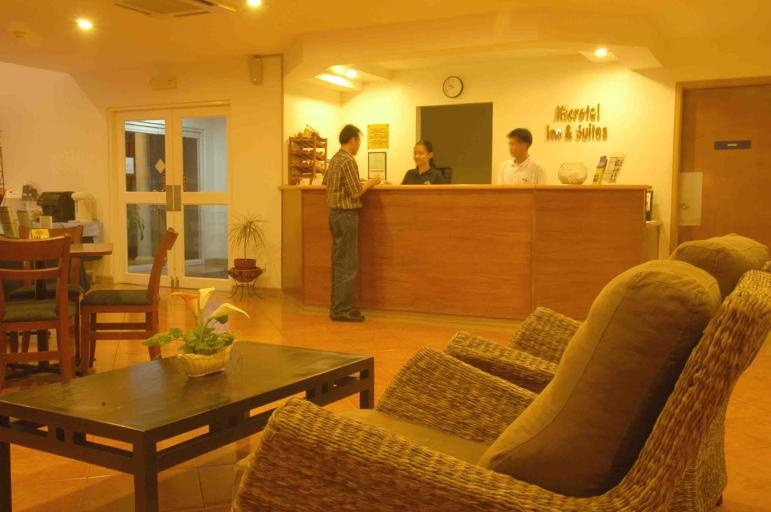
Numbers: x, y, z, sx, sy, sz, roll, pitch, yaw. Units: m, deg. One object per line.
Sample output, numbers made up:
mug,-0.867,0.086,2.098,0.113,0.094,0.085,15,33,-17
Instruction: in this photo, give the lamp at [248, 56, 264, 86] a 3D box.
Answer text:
lamp,-1.856,-2.668,7.949,0.218,0.387,0.080,4,9,17

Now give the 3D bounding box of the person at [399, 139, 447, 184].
person,0.538,-1.214,7.360,0.770,0.650,0.384,12,20,38

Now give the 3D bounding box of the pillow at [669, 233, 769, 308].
pillow,1.231,0.009,2.089,0.309,0.201,0.278,-5,10,-36

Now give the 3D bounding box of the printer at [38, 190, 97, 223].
printer,-5.342,-0.840,9.296,1.189,0.501,0.389,5,9,30

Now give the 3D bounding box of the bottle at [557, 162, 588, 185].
bottle,1.983,-0.862,5.817,0.262,0.249,0.273,-6,10,-42

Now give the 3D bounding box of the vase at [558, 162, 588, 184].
vase,1.970,-0.869,5.826,0.251,0.236,0.259,-4,9,-24

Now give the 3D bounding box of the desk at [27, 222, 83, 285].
desk,-3.094,0.002,5.453,0.372,0.488,0.372,-6,25,26

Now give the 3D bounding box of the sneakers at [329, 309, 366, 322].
sneakers,-0.435,0.684,6.336,0.280,0.090,0.160,-1,1,2

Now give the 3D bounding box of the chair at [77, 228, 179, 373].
chair,-2.156,0.375,4.636,0.818,1.046,0.682,-2,1,-15

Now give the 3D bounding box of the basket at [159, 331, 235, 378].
basket,-0.897,0.513,2.783,0.278,0.179,0.371,11,-23,-40

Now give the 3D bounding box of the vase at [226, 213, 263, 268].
vase,-2.058,-0.193,8.255,0.532,0.838,0.551,-8,-9,37

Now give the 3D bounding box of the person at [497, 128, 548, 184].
person,1.710,-1.220,6.779,0.498,0.643,0.906,3,8,13

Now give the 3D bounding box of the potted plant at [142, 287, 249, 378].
potted plant,-0.947,0.381,2.775,0.560,0.413,0.583,-2,2,37
